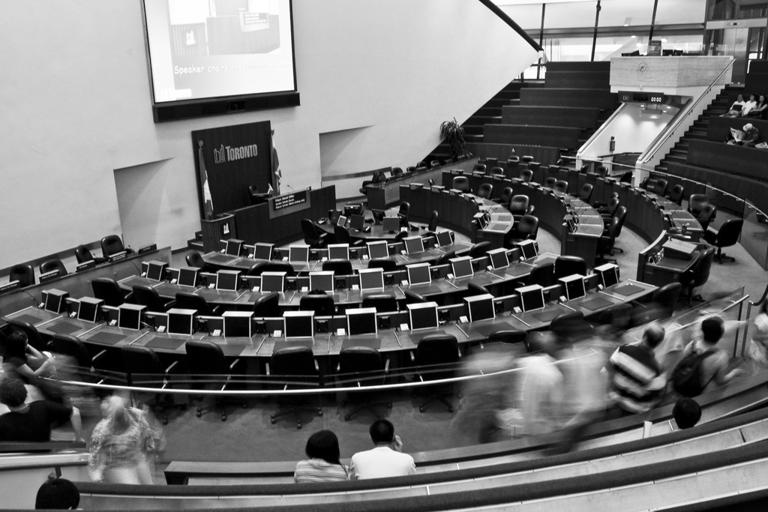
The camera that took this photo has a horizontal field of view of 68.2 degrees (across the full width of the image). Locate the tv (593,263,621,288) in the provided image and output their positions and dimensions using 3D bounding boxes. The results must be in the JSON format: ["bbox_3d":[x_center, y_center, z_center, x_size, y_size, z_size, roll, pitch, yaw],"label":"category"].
[{"bbox_3d":[3.946,0.390,10.078,0.497,0.357,0.224,-2,16,-9],"label":"tv"}]

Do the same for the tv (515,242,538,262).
[{"bbox_3d":[2.895,-0.038,11.614,0.314,0.285,0.170,-24,13,-28],"label":"tv"}]

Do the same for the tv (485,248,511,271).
[{"bbox_3d":[2.257,0.077,11.362,0.429,0.384,0.377,-17,21,4],"label":"tv"}]

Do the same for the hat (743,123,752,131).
[{"bbox_3d":[10.837,-3.854,16.961,0.185,0.200,0.246,-32,13,-40],"label":"hat"}]

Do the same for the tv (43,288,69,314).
[{"bbox_3d":[-5.851,0.848,10.146,0.593,0.358,0.212,7,17,23],"label":"tv"}]

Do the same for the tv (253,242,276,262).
[{"bbox_3d":[-2.659,-0.082,12.574,0.470,0.476,0.353,7,22,7],"label":"tv"}]

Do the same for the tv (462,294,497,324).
[{"bbox_3d":[1.499,0.855,9.117,0.613,0.558,0.378,-3,3,1],"label":"tv"}]

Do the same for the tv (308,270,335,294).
[{"bbox_3d":[-1.140,0.520,10.555,0.560,0.581,0.335,1,17,-2],"label":"tv"}]

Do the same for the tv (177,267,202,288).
[{"bbox_3d":[-3.797,0.432,11.220,0.545,0.535,0.307,-1,1,10],"label":"tv"}]

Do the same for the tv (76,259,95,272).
[{"bbox_3d":[-6.084,0.238,11.625,0.348,0.335,0.086,7,5,28],"label":"tv"}]

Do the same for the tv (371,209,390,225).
[{"bbox_3d":[-0.141,-1.120,16.629,0.407,0.262,0.564,-3,10,-4],"label":"tv"}]

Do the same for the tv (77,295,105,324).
[{"bbox_3d":[-5.046,0.960,9.763,0.552,0.361,0.214,8,17,25],"label":"tv"}]

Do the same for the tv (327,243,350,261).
[{"bbox_3d":[-0.925,-0.032,11.982,0.461,0.524,0.295,0,4,-28],"label":"tv"}]

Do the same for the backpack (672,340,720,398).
[{"bbox_3d":[3.535,1.397,6.575,0.527,0.492,0.388,-27,45,-24],"label":"backpack"}]

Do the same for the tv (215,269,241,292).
[{"bbox_3d":[-2.959,0.493,10.945,0.492,0.481,0.337,4,12,7],"label":"tv"}]

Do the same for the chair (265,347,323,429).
[{"bbox_3d":[-1.119,1.672,7.160,0.812,1.091,0.770,0,1,-5],"label":"chair"}]

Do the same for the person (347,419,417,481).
[{"bbox_3d":[-0.023,2.040,5.841,0.544,1.008,0.559,2,-25,-1],"label":"person"}]

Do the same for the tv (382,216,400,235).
[{"bbox_3d":[0.163,-0.709,14.035,0.373,0.296,0.395,0,13,4],"label":"tv"}]

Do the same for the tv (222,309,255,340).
[{"bbox_3d":[-2.299,1.121,8.883,0.524,0.391,0.194,0,15,0],"label":"tv"}]

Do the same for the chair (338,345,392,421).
[{"bbox_3d":[-0.268,1.539,7.236,0.647,0.979,0.662,0,42,0],"label":"chair"}]

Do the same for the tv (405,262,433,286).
[{"bbox_3d":[0.650,0.373,10.771,0.592,0.454,0.342,-7,2,-19],"label":"tv"}]

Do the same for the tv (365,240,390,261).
[{"bbox_3d":[-0.143,-0.072,12.063,0.391,0.401,0.383,-6,2,-42],"label":"tv"}]

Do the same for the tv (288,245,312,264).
[{"bbox_3d":[-1.827,-0.015,12.277,0.368,0.343,0.380,-1,11,3],"label":"tv"}]

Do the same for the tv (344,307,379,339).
[{"bbox_3d":[-0.395,0.982,8.963,0.618,0.634,0.370,-3,3,-9],"label":"tv"}]

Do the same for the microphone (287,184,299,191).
[{"bbox_3d":[-3.093,-2.255,19.084,0.072,0.249,0.237,6,4,41],"label":"microphone"}]

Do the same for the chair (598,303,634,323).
[{"bbox_3d":[3.736,0.977,9.205,0.364,0.485,0.393,-7,12,-26],"label":"chair"}]

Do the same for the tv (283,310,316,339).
[{"bbox_3d":[-1.276,1.105,8.838,0.557,0.533,0.367,1,11,0],"label":"tv"}]

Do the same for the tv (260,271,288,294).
[{"bbox_3d":[-2.084,0.519,10.838,0.592,0.590,0.337,0,4,3],"label":"tv"}]

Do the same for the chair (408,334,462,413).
[{"bbox_3d":[0.528,1.523,7.464,0.628,1.020,0.665,0,19,-2],"label":"chair"}]

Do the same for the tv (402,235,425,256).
[{"bbox_3d":[0.656,-0.173,12.568,0.374,0.334,0.130,-10,13,-35],"label":"tv"}]

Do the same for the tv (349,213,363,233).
[{"bbox_3d":[-0.674,-0.832,14.559,0.481,0.523,0.355,6,6,25],"label":"tv"}]
